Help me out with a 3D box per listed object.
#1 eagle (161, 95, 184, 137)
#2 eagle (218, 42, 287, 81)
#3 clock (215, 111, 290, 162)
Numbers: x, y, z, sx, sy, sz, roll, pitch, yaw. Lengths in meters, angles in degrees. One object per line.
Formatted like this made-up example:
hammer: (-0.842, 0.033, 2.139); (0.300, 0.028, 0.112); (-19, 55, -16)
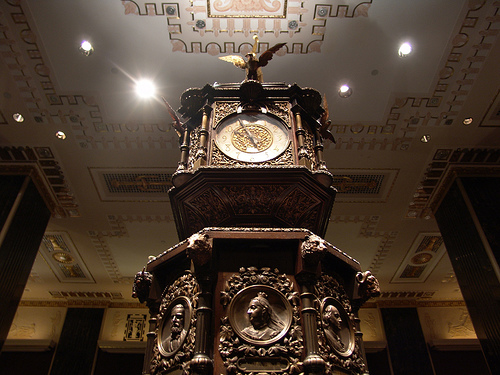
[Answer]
eagle: (-0.834, -0.734, 3.997); (0.204, 0.501, 0.267); (2, -7, -10)
eagle: (0.027, -1.436, 4.214); (0.928, 0.429, 0.569); (0, -12, 1)
clock: (0.029, -0.504, 3.601); (0.758, 0.788, 0.057); (1, -40, 2)
